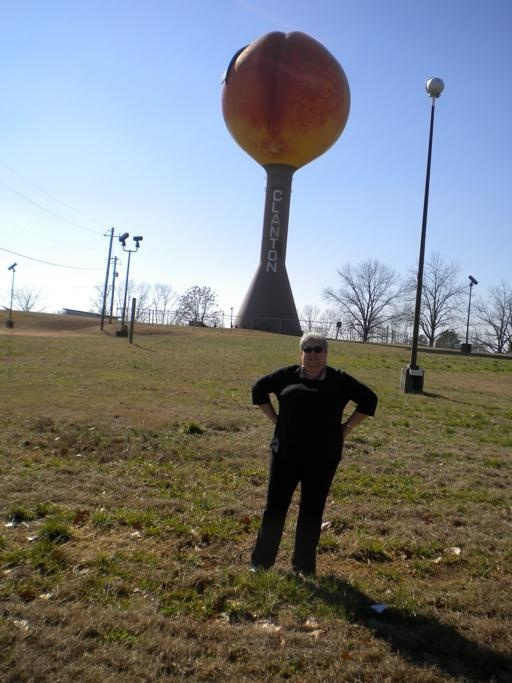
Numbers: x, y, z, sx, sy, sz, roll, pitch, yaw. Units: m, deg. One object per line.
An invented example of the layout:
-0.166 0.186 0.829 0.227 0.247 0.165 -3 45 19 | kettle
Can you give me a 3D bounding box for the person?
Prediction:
0.372 0.791 3.443 0.887 1.727 0.423 5 -2 7 | person
